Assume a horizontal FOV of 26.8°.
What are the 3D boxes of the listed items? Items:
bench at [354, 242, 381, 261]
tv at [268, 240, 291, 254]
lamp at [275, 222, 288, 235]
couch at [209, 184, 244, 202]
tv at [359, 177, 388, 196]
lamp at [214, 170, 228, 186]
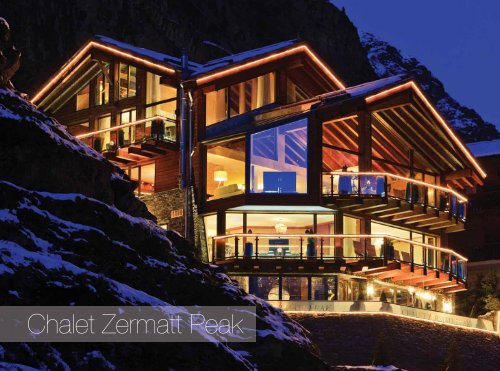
[{"bbox_3d":[5.240,2.841,46.150,0.702,0.866,0.918,1,3,-25],"label":"bench"},{"bbox_3d":[1.395,2.708,46.168,0.631,0.841,0.119,-2,-19,-3],"label":"tv"},{"bbox_3d":[1.465,1.921,47.375,0.574,0.519,0.433,-4,-6,38],"label":"lamp"},{"bbox_3d":[-0.989,0.230,47.385,1.989,0.708,0.202,-12,-20,40],"label":"couch"},{"bbox_3d":[5.538,0.038,46.332,0.916,0.608,0.124,0,-13,1],"label":"tv"},{"bbox_3d":[-1.311,-0.405,47.874,0.819,0.692,0.193,-11,-19,38],"label":"lamp"}]
